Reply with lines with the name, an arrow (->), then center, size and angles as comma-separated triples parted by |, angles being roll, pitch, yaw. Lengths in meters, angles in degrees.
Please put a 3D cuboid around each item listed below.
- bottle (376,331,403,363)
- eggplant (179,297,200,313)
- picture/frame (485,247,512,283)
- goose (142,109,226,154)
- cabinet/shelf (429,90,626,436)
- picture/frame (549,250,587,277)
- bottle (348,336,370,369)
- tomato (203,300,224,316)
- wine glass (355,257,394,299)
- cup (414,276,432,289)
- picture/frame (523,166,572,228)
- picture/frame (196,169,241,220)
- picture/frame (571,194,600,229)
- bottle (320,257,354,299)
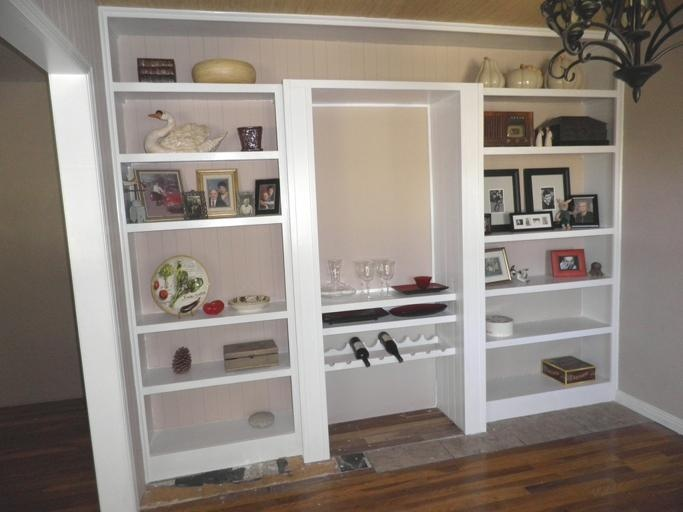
bottle -> 0.332, 0.611, 3.712 | 0.087, 0.073, 0.312 | -31, 35, 2
eggplant -> -1.013, 0.323, 3.561 | 0.054, 0.029, 0.111 | 15, 31, 26
picture/frame -> 1.186, 0.071, 4.070 | 0.257, 0.247, 0.019 | -7, -7, -21
goose -> -1.038, -0.786, 3.408 | 0.606, 0.353, 0.237 | 0, 8, -9
cabinet/shelf -> 1.413, -0.047, 4.054 | 1.506, 2.438, 0.515 | -7, 8, -16
picture/frame -> 1.796, 0.054, 4.228 | 0.228, 0.194, 0.022 | 0, -14, -1
bottle -> 0.126, 0.664, 3.755 | 0.129, 0.137, 0.376 | -5, 8, -1
tomato -> -0.849, 0.334, 3.585 | 0.130, 0.093, 0.113 | -16, 32, -32
wine glass -> 0.227, 0.140, 3.850 | 0.316, 0.282, 0.255 | -1, 1, -8
cup -> 0.594, 0.179, 3.884 | 0.114, 0.086, 0.148 | -4, 8, 5
picture/frame -> 1.587, -0.447, 4.145 | 0.511, 0.605, 0.051 | 1, -5, -13
picture/frame -> -0.822, -0.401, 3.532 | 0.325, 0.376, 0.029 | -6, -1, -18
picture/frame -> 1.881, -0.346, 4.135 | 0.274, 0.346, 0.035 | 1, -5, 0
bottle -> -0.040, 0.154, 3.834 | 0.274, 0.284, 0.257 | -1, 0, -29
